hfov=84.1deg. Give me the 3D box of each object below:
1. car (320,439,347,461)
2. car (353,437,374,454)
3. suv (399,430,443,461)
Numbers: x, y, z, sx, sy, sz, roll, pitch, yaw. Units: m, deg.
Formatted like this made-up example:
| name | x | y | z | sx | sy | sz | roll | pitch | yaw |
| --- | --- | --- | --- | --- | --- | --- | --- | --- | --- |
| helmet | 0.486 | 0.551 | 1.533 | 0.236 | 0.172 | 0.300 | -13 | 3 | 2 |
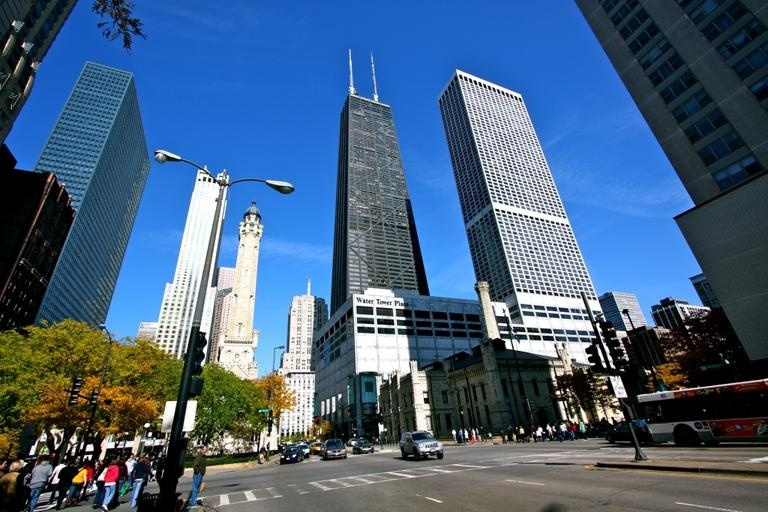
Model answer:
| name | x | y | z | sx | sy | sz | roll | pitch | yaw |
| --- | --- | --- | --- | --- | --- | --- | --- | --- | --- |
| car | -6.138 | 23.716 | 52.657 | 2.631 | 2.228 | 2.646 | 2 | -26 | -13 |
| car | -2.719 | 25.930 | 58.552 | 1.901 | 1.836 | 2.720 | 19 | -33 | -40 |
| suv | 3.723 | 19.185 | 43.458 | 2.443 | 2.657 | 3.828 | 15 | -30 | -34 |
